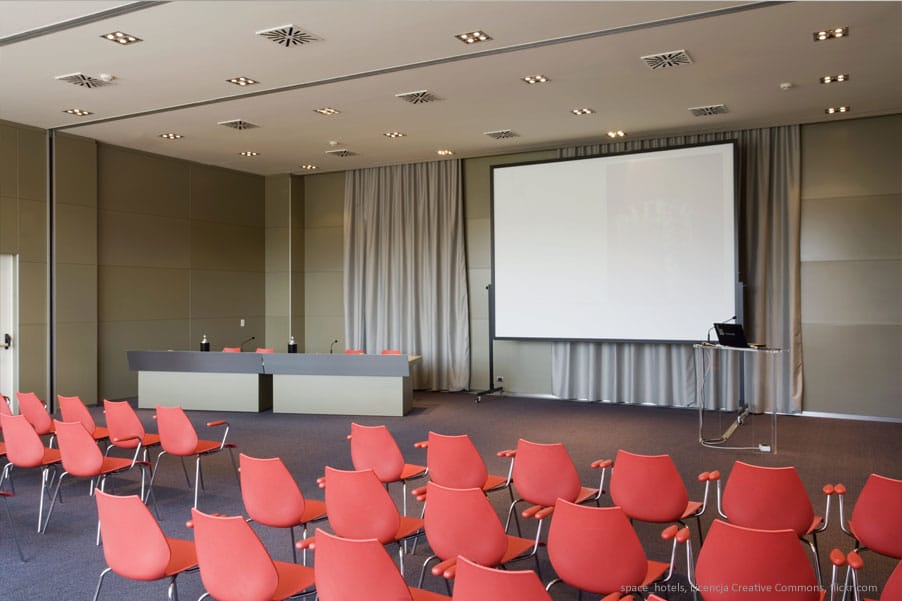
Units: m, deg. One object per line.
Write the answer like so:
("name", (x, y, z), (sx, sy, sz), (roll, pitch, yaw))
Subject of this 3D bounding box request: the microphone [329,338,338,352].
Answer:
("microphone", (-2.591, 0.983, 13.965), (0.167, 0.276, 0.334), (-2, 1, -15))

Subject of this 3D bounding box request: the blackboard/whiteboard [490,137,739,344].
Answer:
("blackboard/whiteboard", (3.030, -1.053, 10.988), (3.648, 2.668, 0.121), (-1, -1, 22))

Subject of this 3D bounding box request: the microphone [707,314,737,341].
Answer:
("microphone", (4.009, 0.381, 9.218), (0.386, 0.290, 0.296), (-3, -5, 14))

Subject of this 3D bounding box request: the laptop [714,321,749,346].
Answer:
("laptop", (3.753, 0.434, 8.332), (0.302, 0.295, 0.417), (-3, 2, -30))
